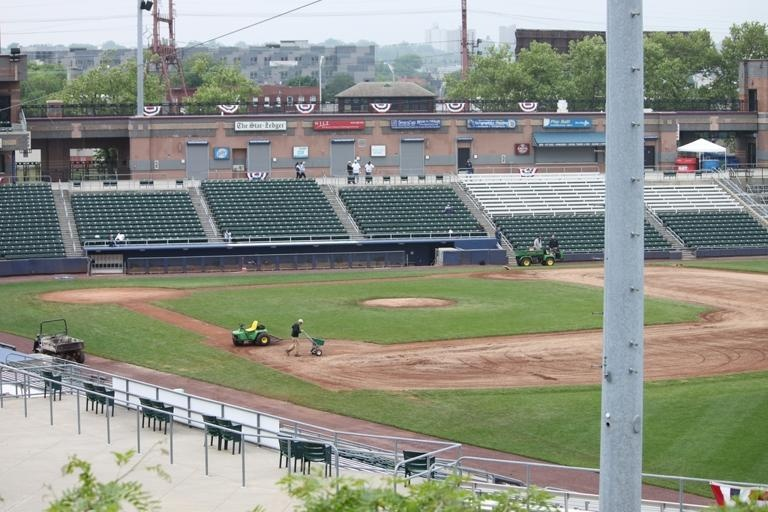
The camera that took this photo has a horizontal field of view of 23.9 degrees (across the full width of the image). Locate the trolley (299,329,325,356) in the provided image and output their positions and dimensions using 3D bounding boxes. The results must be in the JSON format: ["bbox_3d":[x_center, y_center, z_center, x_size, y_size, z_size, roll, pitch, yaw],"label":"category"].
[{"bbox_3d":[-5.675,6.695,138.110,2.560,1.604,1.347,-2,4,-4],"label":"trolley"}]

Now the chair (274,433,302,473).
[{"bbox_3d":[-5.746,13.115,123.479,2.367,2.437,2.407,-1,5,-27],"label":"chair"}]

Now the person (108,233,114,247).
[{"bbox_3d":[-24.591,-1.423,164.306,0.667,0.977,2.142,-4,4,-9],"label":"person"}]

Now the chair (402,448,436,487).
[{"bbox_3d":[2.280,13.817,122.335,2.135,2.138,1.848,3,8,11],"label":"chair"}]

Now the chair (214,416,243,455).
[{"bbox_3d":[-10.493,12.139,124.315,1.769,2.213,2.253,-4,5,-16],"label":"chair"}]
